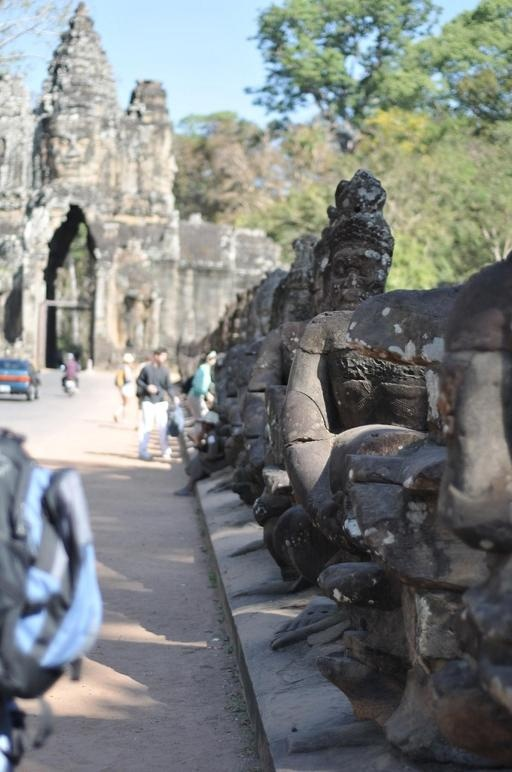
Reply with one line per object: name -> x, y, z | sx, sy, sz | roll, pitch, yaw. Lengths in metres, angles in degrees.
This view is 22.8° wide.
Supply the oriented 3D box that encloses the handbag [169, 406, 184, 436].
handbag -> -0.817, 0.367, 13.314 | 0.124, 0.158, 0.404 | 26, 7, -8
